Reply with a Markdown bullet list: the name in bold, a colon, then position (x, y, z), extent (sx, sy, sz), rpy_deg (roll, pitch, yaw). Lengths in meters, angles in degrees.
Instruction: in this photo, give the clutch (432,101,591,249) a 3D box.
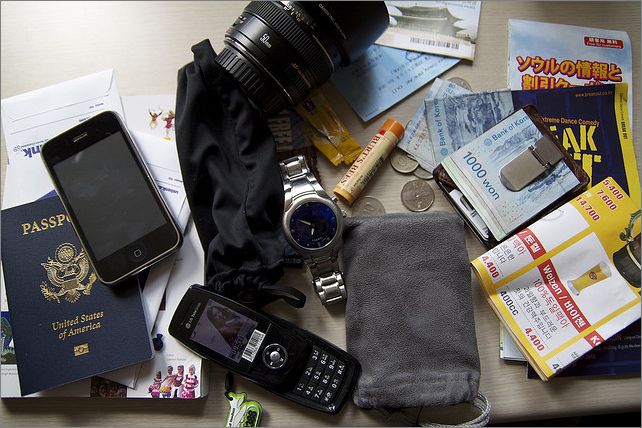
- **clutch**: position (0.375, -0.078, 1.077), extent (0.265, 0.136, 0.174), rpy_deg (-23, 56, -13)
